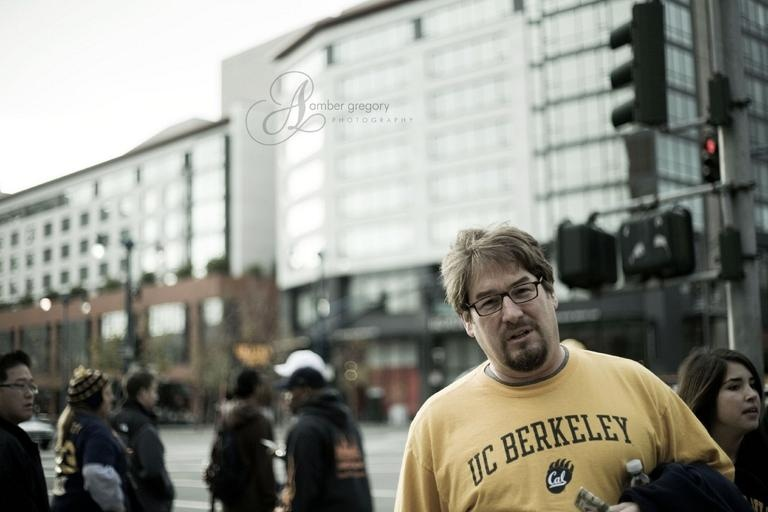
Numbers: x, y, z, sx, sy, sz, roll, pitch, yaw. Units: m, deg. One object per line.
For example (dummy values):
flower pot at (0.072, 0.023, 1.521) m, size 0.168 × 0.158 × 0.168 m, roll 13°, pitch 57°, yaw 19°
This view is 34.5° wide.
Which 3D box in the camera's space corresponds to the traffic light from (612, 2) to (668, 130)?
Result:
traffic light at (2.124, -1.607, 10.306) m, size 0.512 × 0.914 × 0.323 m, roll 4°, pitch -1°, yaw 11°

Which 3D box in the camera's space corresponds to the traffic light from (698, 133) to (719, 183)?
traffic light at (2.738, -0.847, 10.522) m, size 0.121 × 0.391 × 0.244 m, roll 5°, pitch -1°, yaw -18°

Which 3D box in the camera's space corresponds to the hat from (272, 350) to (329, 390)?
hat at (-0.656, 0.931, 10.148) m, size 0.366 × 0.201 × 0.264 m, roll 1°, pitch 1°, yaw -14°

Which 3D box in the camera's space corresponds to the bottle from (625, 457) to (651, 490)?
bottle at (1.678, 1.436, 8.212) m, size 0.160 × 0.155 × 0.091 m, roll 5°, pitch -1°, yaw 2°

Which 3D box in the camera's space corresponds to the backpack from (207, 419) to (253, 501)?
backpack at (-1.233, 1.623, 9.783) m, size 0.391 × 0.551 × 0.158 m, roll -9°, pitch 4°, yaw -40°
